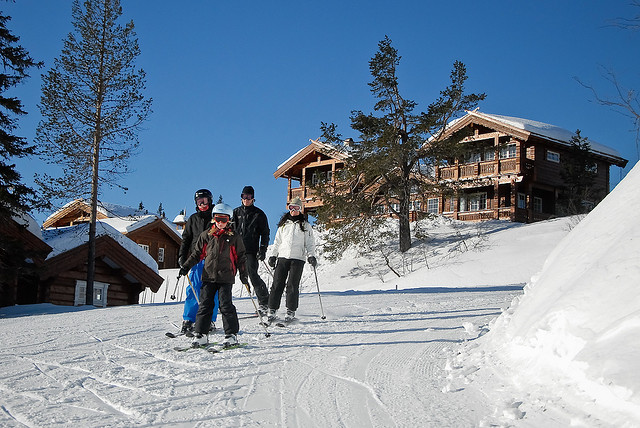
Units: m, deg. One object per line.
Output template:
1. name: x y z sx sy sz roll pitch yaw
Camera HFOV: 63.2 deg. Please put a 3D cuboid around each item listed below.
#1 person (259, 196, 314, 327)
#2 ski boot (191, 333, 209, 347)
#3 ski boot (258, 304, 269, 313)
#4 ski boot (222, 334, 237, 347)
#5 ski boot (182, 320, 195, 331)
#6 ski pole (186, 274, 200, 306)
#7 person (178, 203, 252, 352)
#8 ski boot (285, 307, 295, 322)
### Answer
1. person: -0.566 0.840 9.643 0.976 2.287 0.519 1 -8 -17
2. ski boot: -1.785 1.867 7.712 0.112 0.214 0.215 -13 -45 33
3. ski boot: -1.109 1.801 10.033 0.318 0.153 0.113 4 -6 -14
4. ski boot: -1.345 1.847 7.652 0.093 0.112 0.258 1 -1 4
5. ski boot: -2.132 1.766 8.350 0.190 0.158 0.171 0 -8 -10
6. ski pole: -2.021 1.236 8.296 0.084 0.718 0.033 -20 -35 -23
7. person: -1.583 0.909 7.957 0.845 2.165 0.610 0 -8 -10
8. ski boot: -0.569 1.811 9.472 0.175 0.229 0.194 0 -8 -9
